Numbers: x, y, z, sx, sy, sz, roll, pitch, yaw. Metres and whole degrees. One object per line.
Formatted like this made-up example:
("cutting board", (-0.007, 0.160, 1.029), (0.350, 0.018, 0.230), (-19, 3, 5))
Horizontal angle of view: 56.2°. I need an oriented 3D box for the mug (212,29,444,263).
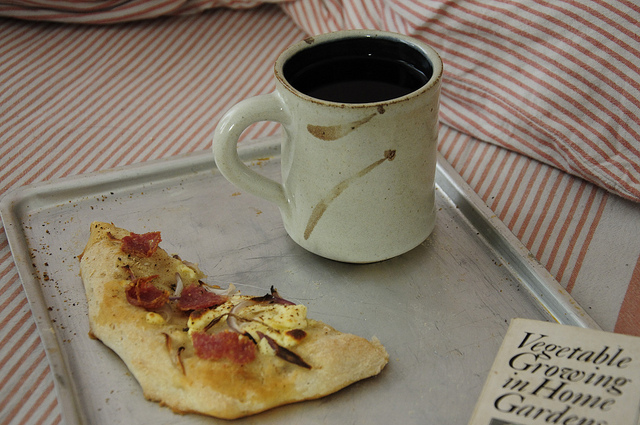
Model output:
("mug", (0.038, -0.098, 0.851), (0.285, 0.224, 0.255), (20, 56, 20))
